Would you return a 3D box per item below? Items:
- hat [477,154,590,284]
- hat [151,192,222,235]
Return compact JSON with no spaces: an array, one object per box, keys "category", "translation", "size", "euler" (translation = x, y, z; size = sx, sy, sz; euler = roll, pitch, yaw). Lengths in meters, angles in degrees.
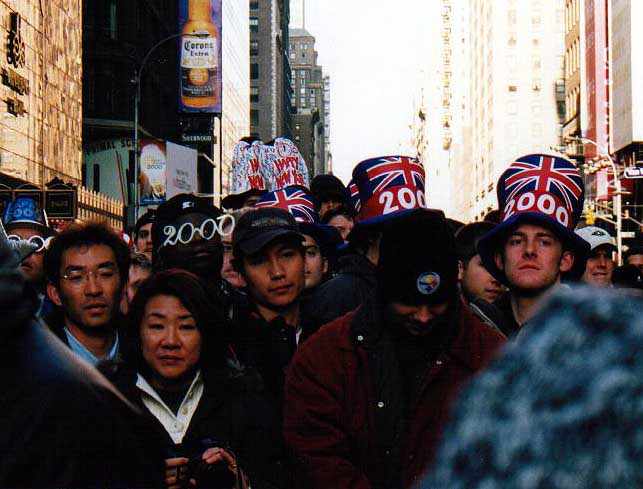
[{"category":"hat","translation":[1.131,-0.145,5.498],"size":[0.640,0.793,0.720],"euler":[2,-37,14]},{"category":"hat","translation":[-0.897,-0.233,6.482],"size":[0.376,0.224,0.489],"euler":[-11,-6,-28]}]
